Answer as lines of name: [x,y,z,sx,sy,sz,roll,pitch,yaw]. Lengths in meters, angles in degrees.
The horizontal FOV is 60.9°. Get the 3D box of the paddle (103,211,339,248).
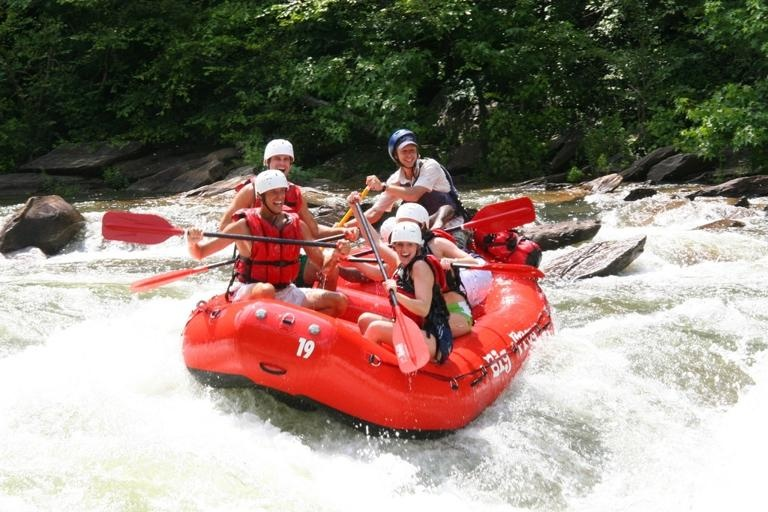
paddle: [-1.801,-0.221,7.488,2.645,0.339,0.146,5,41,-18]

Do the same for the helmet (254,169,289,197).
helmet: [-1.203,-0.767,6.942,0.325,0.230,0.247,-15,2,40]

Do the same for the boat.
boat: [0.448,0.820,6.980,2.038,0.874,2.740,13,6,31]

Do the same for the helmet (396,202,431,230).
helmet: [0.342,-0.426,6.926,0.237,0.221,0.311,16,20,33]

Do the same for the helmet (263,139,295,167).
helmet: [-1.204,-1.231,7.737,0.389,0.358,0.487,-2,15,-9]

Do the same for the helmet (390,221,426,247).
helmet: [0.234,-0.226,6.562,0.234,0.196,0.285,0,-14,8]
